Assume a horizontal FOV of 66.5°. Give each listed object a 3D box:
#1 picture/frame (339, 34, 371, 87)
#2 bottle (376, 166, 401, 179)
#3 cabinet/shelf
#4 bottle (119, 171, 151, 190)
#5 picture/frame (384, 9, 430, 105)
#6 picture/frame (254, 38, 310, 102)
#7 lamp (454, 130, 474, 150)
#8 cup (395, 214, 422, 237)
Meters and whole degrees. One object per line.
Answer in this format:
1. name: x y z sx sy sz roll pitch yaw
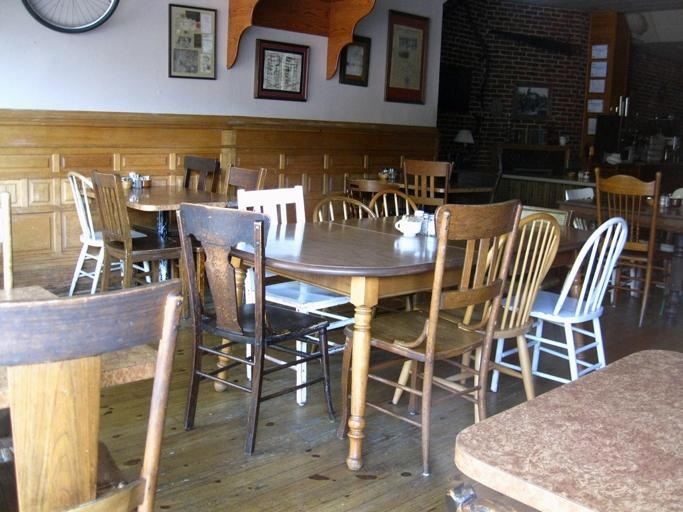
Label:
1. picture/frame: 0.165 -2.185 5.843 0.088 0.538 0.453 15 19 42
2. bottle: 0.570 -0.966 6.023 0.275 0.094 0.226 -13 21 -43
3. cabinet/shelf: 4.831 -3.203 9.419 0.774 2.287 0.559 1 14 -5
4. bottle: -1.748 -0.626 4.410 0.201 0.086 0.243 3 7 7
5. picture/frame: 0.790 -2.367 6.264 0.676 1.023 0.074 -8 18 -36
6. picture/frame: -0.599 -1.893 5.363 0.594 0.496 0.032 15 23 22
7. lamp: 1.943 -1.824 8.223 0.333 0.314 0.340 6 9 44
8. cup: 0.394 -0.167 2.930 0.119 0.093 0.148 11 17 43
